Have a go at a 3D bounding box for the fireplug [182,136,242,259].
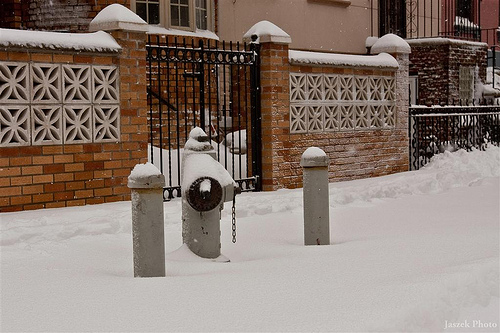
[{"bbox_3d":[-0.528,0.455,6.834,0.807,1.636,1.141,-1,3,0],"label":"fireplug"}]
